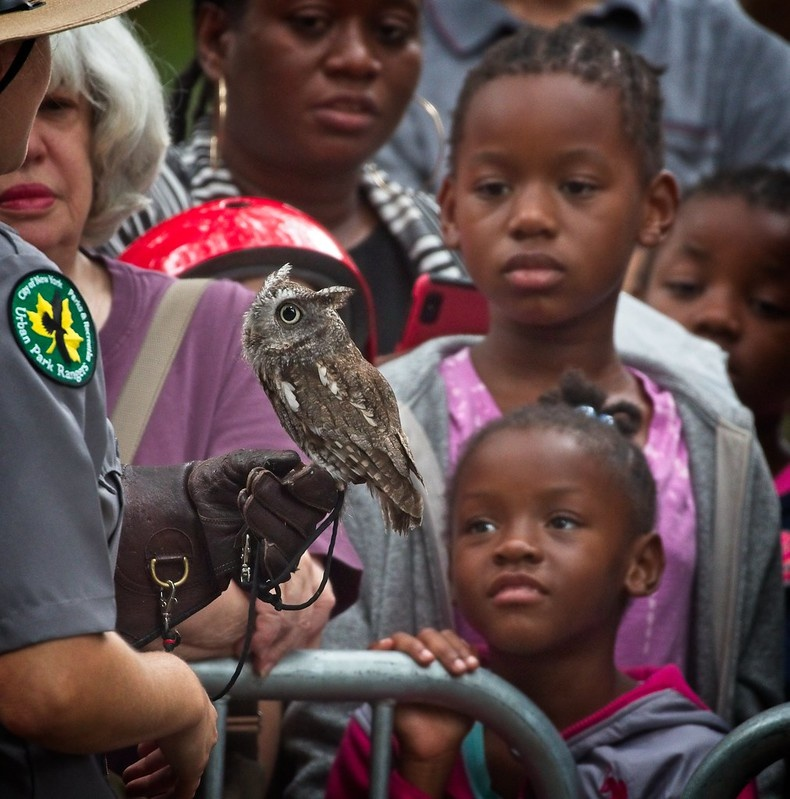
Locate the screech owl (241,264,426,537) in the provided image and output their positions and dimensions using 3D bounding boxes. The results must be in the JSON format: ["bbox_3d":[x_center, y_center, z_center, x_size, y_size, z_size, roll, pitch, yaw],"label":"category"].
[{"bbox_3d":[-0.100,0.012,2.034,0.245,0.428,0.079,-6,9,-5],"label":"screech owl"}]
